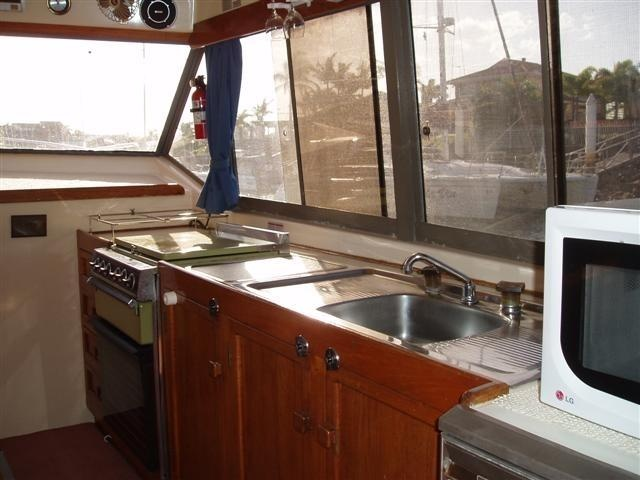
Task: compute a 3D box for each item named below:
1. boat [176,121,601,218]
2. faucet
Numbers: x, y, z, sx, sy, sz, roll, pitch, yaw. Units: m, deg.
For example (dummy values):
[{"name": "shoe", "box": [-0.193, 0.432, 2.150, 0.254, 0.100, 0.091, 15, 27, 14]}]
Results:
[{"name": "boat", "box": [0.344, -0.384, 2.611, 1.572, 0.250, 0.347, 18, 26, 23]}, {"name": "faucet", "box": [0.509, 0.171, 2.034, 0.426, 0.171, 0.089, 19, 23, 39]}]
